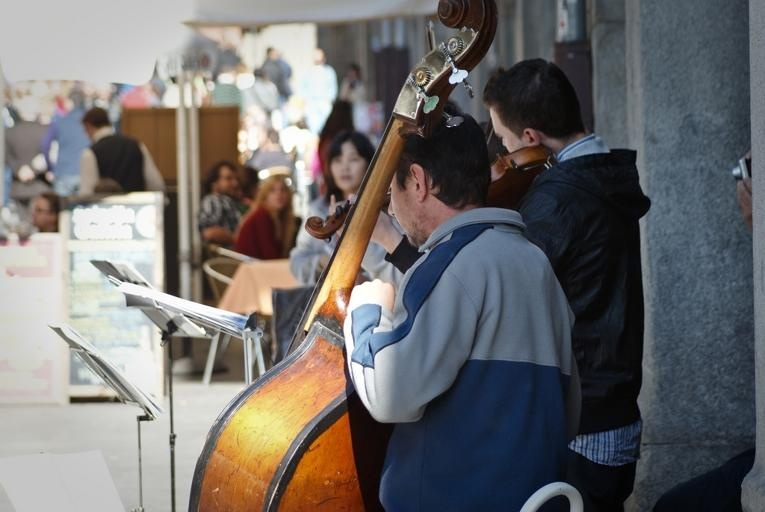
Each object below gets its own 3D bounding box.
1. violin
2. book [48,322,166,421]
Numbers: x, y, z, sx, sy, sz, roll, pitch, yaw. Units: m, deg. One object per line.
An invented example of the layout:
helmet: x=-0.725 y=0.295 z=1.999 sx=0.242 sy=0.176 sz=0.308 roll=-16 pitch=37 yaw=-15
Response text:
violin: x=0.792 y=-0.440 z=9.677 sx=0.427 sy=0.133 sz=0.254 roll=-38 pitch=-30 yaw=7
book: x=-1.924 y=0.799 z=11.425 sx=0.781 sy=0.191 sz=0.242 roll=40 pitch=16 yaw=-11
